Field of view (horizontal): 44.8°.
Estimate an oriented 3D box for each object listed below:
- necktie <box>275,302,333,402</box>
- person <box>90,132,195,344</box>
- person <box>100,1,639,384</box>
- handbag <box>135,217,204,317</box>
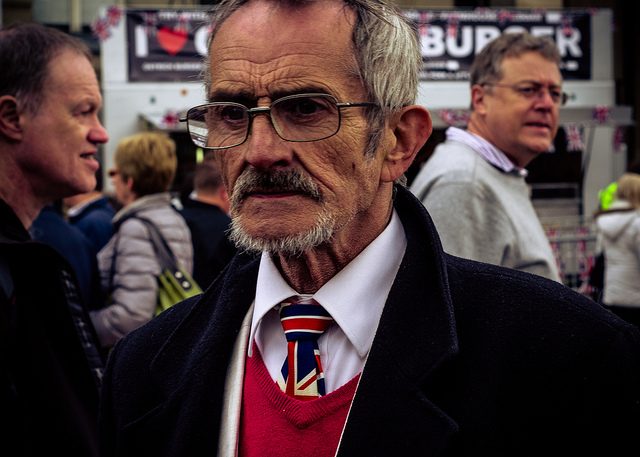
[{"bbox_3d":[-0.070,0.498,3.102,0.210,0.415,0.168,-4,-19,16],"label":"necktie"},{"bbox_3d":[-1.163,0.075,5.015,0.639,0.666,1.387,-6,41,9],"label":"person"},{"bbox_3d":[0.119,-0.127,3.081,1.861,1.536,0.570,3,9,14],"label":"person"},{"bbox_3d":[-0.959,0.282,5.198,0.375,0.761,0.361,14,21,40],"label":"handbag"}]
